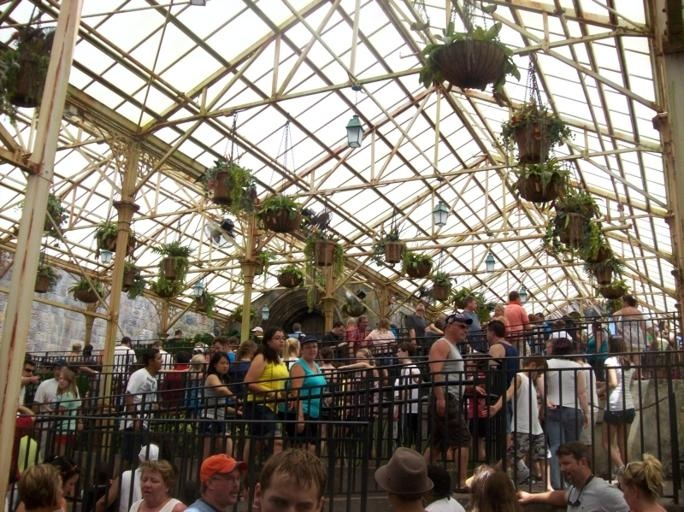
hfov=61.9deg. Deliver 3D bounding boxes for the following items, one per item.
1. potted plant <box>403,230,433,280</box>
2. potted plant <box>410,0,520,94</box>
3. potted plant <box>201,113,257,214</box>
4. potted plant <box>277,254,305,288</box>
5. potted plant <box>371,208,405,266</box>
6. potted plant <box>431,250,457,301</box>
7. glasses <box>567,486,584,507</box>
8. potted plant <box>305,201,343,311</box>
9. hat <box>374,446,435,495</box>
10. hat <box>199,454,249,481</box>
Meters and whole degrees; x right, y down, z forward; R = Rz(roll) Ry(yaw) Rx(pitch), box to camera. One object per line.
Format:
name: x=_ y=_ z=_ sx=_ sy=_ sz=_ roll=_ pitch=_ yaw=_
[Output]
potted plant: x=2.238 y=0.140 z=17.704 sx=0.913 sy=0.721 sz=0.922 roll=-8 pitch=-15 yaw=35
potted plant: x=1.791 y=-2.945 z=8.169 sx=1.118 sy=0.522 sz=1.269 roll=2 pitch=-19 yaw=4
potted plant: x=-2.534 y=-1.687 z=13.069 sx=0.990 sy=1.416 sz=0.928 roll=-10 pitch=-21 yaw=26
potted plant: x=-1.690 y=0.559 z=17.353 sx=0.754 sy=0.965 sz=0.809 roll=-1 pitch=-6 yaw=21
potted plant: x=1.392 y=-0.510 z=16.873 sx=0.931 sy=1.593 sz=1.257 roll=-1 pitch=-19 yaw=3
potted plant: x=3.483 y=0.867 z=20.214 sx=0.841 sy=1.215 sz=0.810 roll=-5 pitch=8 yaw=-15
glasses: x=1.929 y=1.990 z=4.734 sx=0.095 sy=0.126 sz=0.141 roll=-7 pitch=-56 yaw=26
potted plant: x=-0.533 y=-0.144 z=15.150 sx=1.030 sy=2.368 sz=0.942 roll=-5 pitch=-4 yaw=15
hat: x=0.420 y=1.450 z=3.830 sx=0.343 sy=0.297 sz=0.121 roll=-2 pitch=-20 yaw=6
hat: x=-0.802 y=1.455 z=3.929 sx=0.287 sy=0.171 sz=0.277 roll=2 pitch=-19 yaw=-8
